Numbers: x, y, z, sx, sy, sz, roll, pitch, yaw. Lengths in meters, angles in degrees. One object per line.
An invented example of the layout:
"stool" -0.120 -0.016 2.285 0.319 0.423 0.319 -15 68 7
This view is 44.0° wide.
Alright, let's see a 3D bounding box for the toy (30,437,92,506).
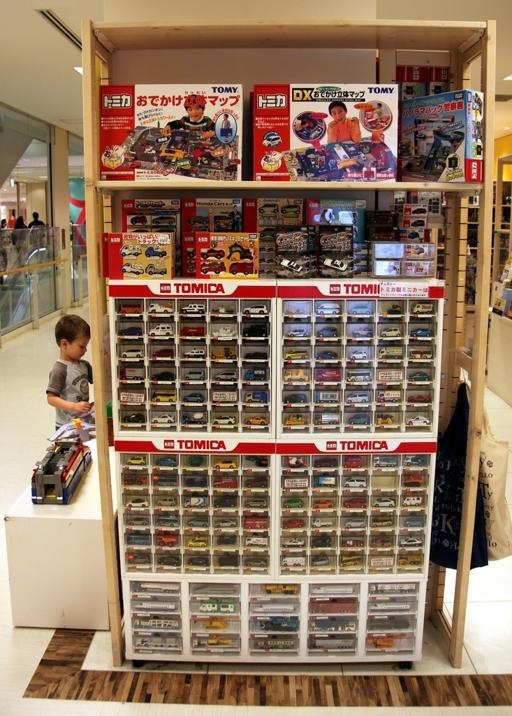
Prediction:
"toy" -0.965 0.530 3.146 0.194 0.150 0.485 1 17 0
